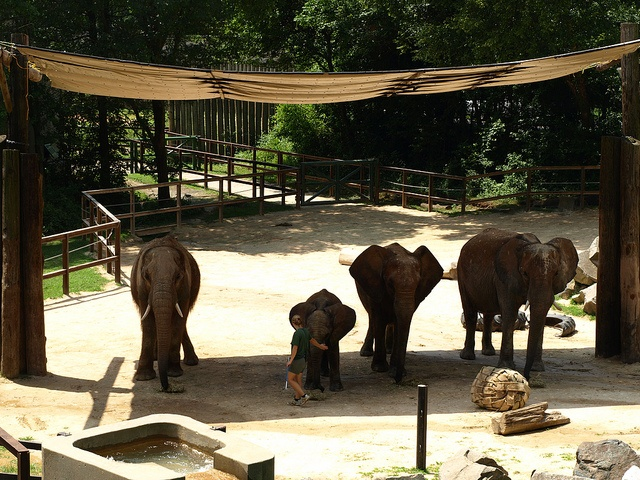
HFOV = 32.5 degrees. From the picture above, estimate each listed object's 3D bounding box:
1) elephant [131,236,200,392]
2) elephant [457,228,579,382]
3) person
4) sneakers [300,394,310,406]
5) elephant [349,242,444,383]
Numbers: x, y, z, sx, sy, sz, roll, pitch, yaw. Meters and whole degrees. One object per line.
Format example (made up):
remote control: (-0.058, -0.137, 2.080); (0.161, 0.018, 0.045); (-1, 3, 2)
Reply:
elephant: (-2.367, 1.039, 16.375); (0.814, 2.076, 1.528); (1, 8, 6)
elephant: (2.955, 0.938, 16.914); (1.025, 2.057, 1.816); (-4, 9, -31)
person: (-0.189, 1.733, 15.809); (0.515, 1.215, 0.624); (1, 8, 4)
sneakers: (-0.222, 2.267, 15.663); (0.092, 0.197, 0.078); (22, 15, -11)
elephant: (1.037, 1.075, 16.756); (1.021, 1.959, 1.237); (-7, 11, -44)
